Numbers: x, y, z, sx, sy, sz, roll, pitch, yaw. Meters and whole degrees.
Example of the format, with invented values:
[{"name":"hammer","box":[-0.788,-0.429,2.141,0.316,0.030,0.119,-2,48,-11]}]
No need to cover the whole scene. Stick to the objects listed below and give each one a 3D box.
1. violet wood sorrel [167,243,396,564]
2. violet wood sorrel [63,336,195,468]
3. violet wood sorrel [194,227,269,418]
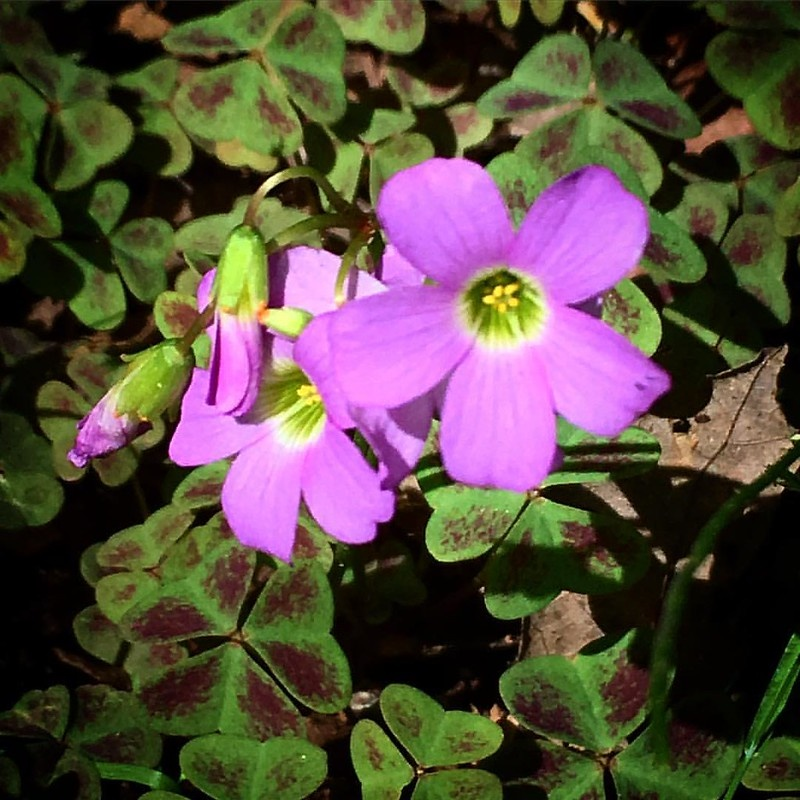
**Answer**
[{"name":"violet wood sorrel","box":[-0.123,-0.016,1.409,0.415,0.448,0.131,-16,-6,34]},{"name":"violet wood sorrel","box":[-0.399,0.002,1.390,0.111,0.246,0.102,42,18,2]},{"name":"violet wood sorrel","box":[-0.227,-0.112,1.235,0.069,0.241,0.137,-1,17,10]}]
